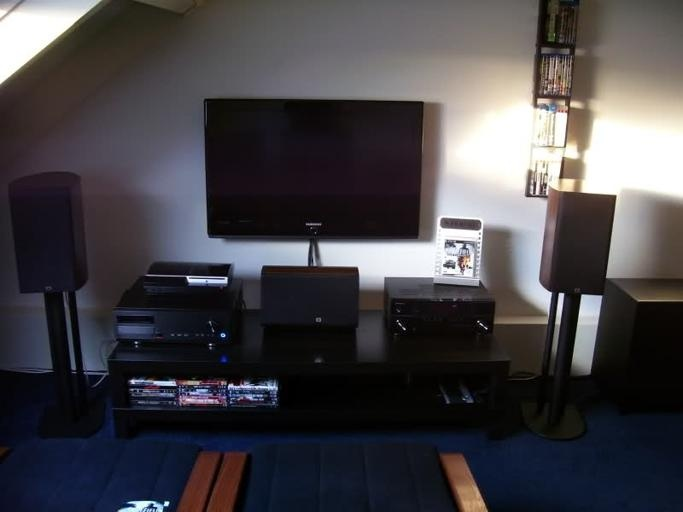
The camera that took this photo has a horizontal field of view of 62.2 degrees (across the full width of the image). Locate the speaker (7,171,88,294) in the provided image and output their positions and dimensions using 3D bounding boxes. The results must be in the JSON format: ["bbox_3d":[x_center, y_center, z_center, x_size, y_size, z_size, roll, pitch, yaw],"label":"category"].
[{"bbox_3d":[-1.591,-0.114,3.090,0.328,0.667,0.235,-3,11,-18],"label":"speaker"}]

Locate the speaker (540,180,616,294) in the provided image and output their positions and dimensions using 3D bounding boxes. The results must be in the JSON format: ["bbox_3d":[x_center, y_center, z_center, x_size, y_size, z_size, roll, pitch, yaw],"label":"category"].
[{"bbox_3d":[1.298,-0.100,3.150,0.341,0.598,0.281,3,11,17],"label":"speaker"}]
